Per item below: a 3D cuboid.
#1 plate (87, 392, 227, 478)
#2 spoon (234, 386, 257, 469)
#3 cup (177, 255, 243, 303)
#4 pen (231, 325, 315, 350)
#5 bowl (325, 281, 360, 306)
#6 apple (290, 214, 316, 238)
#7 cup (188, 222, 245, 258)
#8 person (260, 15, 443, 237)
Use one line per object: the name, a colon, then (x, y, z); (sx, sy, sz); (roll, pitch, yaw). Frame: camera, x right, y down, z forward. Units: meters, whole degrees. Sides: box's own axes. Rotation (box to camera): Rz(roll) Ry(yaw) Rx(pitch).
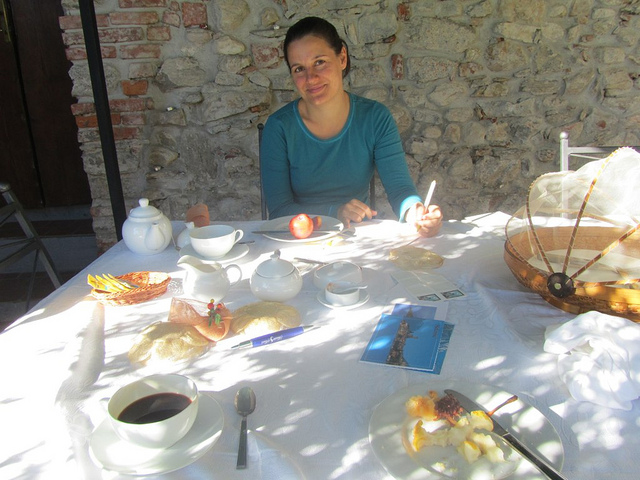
plate: (-0.293, 0.329, 0.775); (0.198, 0.096, 0.163); (-5, 17, -23)
spoon: (-0.145, 0.359, 0.812); (0.038, 0.024, 0.199); (9, 19, -10)
cup: (-0.301, 0.113, 1.245); (0.174, 0.116, 0.121); (-2, 20, 7)
pen: (-0.113, 0.241, 1.056); (0.211, 0.019, 0.029); (-9, 22, -17)
bowl: (0.062, 0.149, 1.200); (0.089, 0.035, 0.088); (-2, 21, 1)
apple: (-0.064, -0.051, 1.616); (0.086, 0.091, 0.081); (3, 12, -7)
cup: (-0.344, -0.008, 1.472); (0.151, 0.065, 0.117); (-10, 14, -37)
person: (0.153, -0.534, 2.001); (0.954, 0.923, 0.606); (8, 23, 36)
